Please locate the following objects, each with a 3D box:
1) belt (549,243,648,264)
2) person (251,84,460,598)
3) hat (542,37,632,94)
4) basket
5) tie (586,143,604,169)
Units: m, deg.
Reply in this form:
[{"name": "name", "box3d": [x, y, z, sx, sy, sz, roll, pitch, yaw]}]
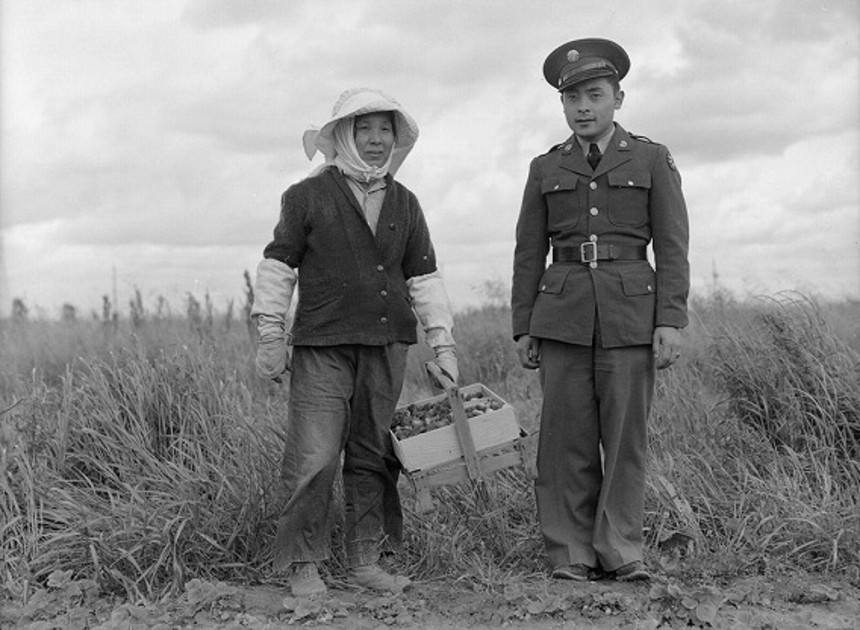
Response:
[{"name": "belt", "box3d": [1.020, -0.366, 4.922, 0.549, 0.140, 0.174, 1, 8, 6]}, {"name": "person", "box3d": [-0.514, 0.062, 5.204, 1.081, 3.208, 1.216, 2, 4, -27]}, {"name": "hat", "box3d": [0.938, -1.482, 4.924, 0.492, 0.302, 0.308, 2, 8, 8]}, {"name": "basket", "box3d": [0.119, 0.599, 5.070, 0.700, 0.645, 0.774, -15, 24, -8]}, {"name": "tie", "box3d": [0.978, -0.939, 4.916, 0.085, 0.143, 0.057, -9, -14, 15]}]
